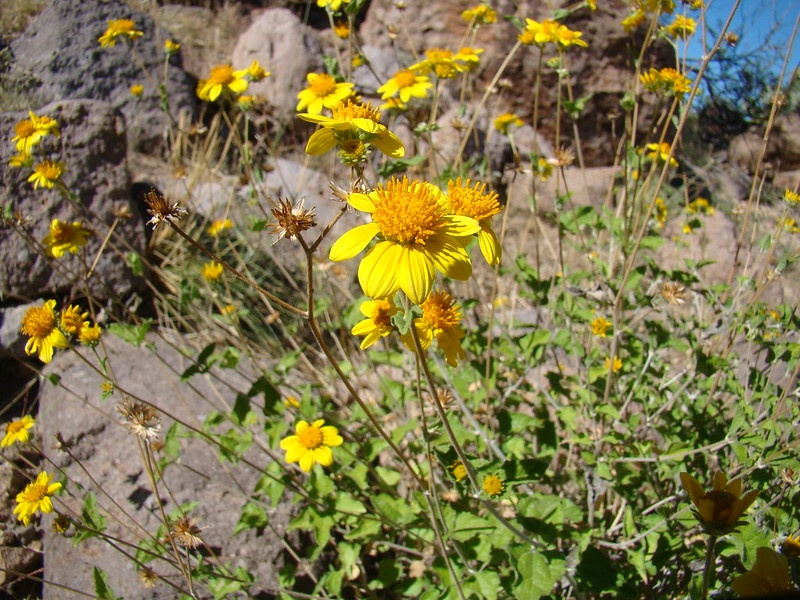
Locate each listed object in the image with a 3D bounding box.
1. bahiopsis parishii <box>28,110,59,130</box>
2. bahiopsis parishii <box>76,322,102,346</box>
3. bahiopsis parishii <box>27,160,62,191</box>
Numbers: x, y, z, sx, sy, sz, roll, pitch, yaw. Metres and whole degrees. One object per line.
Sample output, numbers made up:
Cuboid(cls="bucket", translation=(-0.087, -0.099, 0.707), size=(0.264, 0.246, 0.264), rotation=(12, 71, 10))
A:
Cuboid(cls="bahiopsis parishii", translation=(-2.202, -1.096, 4.465), size=(0.157, 0.083, 0.168), rotation=(16, 16, -36))
Cuboid(cls="bahiopsis parishii", translation=(-1.747, 0.195, 4.110), size=(0.121, 0.128, 0.094), rotation=(2, 74, 34))
Cuboid(cls="bahiopsis parishii", translation=(-2.201, -0.828, 4.497), size=(0.227, 0.091, 0.238), rotation=(-29, 39, -8))
